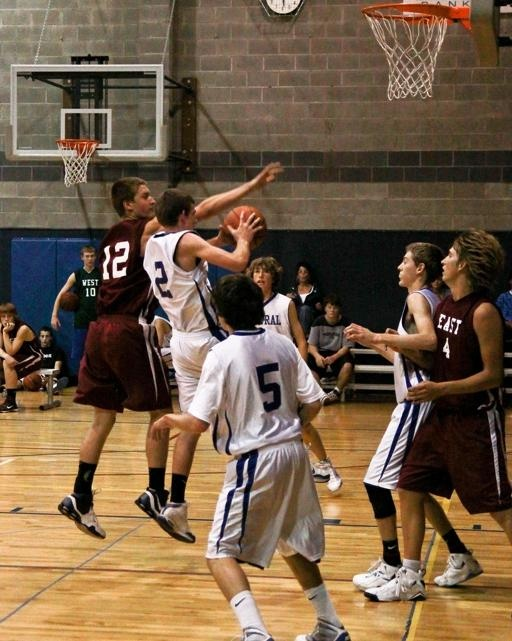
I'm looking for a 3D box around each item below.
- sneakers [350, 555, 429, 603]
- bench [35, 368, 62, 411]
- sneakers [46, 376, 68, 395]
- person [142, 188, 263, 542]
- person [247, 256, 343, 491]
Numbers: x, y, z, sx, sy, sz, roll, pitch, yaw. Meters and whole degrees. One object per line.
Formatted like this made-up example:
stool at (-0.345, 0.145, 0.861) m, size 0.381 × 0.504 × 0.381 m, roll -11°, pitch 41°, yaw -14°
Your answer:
sneakers at (0.568, 1.069, 3.584) m, size 0.329 × 0.209 × 0.119 m, roll 0°, pitch -1°, yaw 10°
bench at (-2.192, 0.720, 9.162) m, size 0.197 × 0.385 × 0.450 m, roll -5°, pitch -12°, yaw -12°
sneakers at (-2.223, 0.725, 9.617) m, size 0.113 × 0.288 × 0.212 m, roll 1°, pitch 27°, yaw -32°
person at (-0.184, 0.213, 4.064) m, size 0.691 × 1.602 × 0.557 m, roll -2°, pitch -3°, yaw -18°
person at (0.176, 0.336, 5.189) m, size 0.500 × 1.447 × 0.490 m, roll -8°, pitch 6°, yaw 21°
